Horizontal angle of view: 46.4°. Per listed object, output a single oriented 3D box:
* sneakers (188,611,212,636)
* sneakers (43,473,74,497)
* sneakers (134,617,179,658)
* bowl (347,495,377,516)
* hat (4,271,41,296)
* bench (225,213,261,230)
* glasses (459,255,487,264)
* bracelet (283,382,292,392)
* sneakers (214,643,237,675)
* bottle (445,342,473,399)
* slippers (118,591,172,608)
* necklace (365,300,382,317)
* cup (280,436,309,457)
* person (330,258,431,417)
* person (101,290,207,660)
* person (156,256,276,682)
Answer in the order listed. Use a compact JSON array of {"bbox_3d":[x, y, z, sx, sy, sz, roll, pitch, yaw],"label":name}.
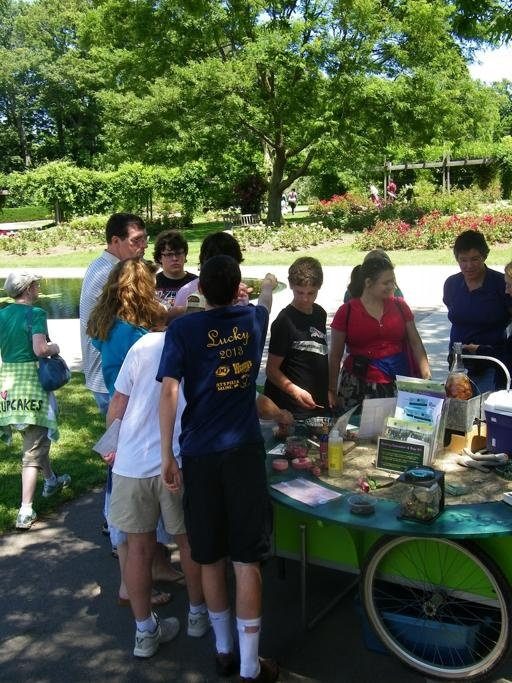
[{"bbox_3d":[-0.258,1.355,2.925,0.070,0.097,0.166,3,7,16],"label":"sneakers"},{"bbox_3d":[-1.548,1.106,4.725,0.103,0.113,0.277,9,20,23],"label":"sneakers"},{"bbox_3d":[-0.453,1.372,2.853,0.099,0.114,0.272,1,10,25],"label":"sneakers"},{"bbox_3d":[0.401,0.615,2.264,0.101,0.043,0.152,-2,11,10],"label":"bowl"},{"bbox_3d":[-1.634,-0.413,4.193,0.182,0.132,0.236,17,42,24],"label":"hat"},{"bbox_3d":[-0.804,-6.344,30.943,1.540,0.600,2.842,1,12,21],"label":"bench"},{"bbox_3d":[1.459,-0.566,4.072,0.090,0.038,0.106,-1,2,3],"label":"glasses"},{"bbox_3d":[0.179,0.254,3.390,0.045,0.037,0.041,1,-2,3],"label":"bracelet"},{"bbox_3d":[-0.133,1.384,2.562,0.078,0.090,0.137,1,-30,-4],"label":"sneakers"},{"bbox_3d":[0.960,0.124,2.836,0.122,0.244,0.294,0,12,19],"label":"bottle"},{"bbox_3d":[-0.597,1.392,3.230,0.276,0.057,0.105,1,5,1],"label":"slippers"},{"bbox_3d":[0.752,-0.217,3.780,0.101,0.087,0.025,-6,-11,-4],"label":"necklace"},{"bbox_3d":[0.189,0.501,2.879,0.104,0.066,0.096,0,-3,0],"label":"cup"},{"bbox_3d":[0.774,-0.056,3.857,0.643,1.004,0.425,-2,13,10],"label":"person"},{"bbox_3d":[-0.383,0.580,2.779,0.523,1.499,0.473,-9,-8,4],"label":"person"},{"bbox_3d":[-0.153,0.564,2.451,0.428,1.815,0.465,-3,13,9],"label":"person"}]
